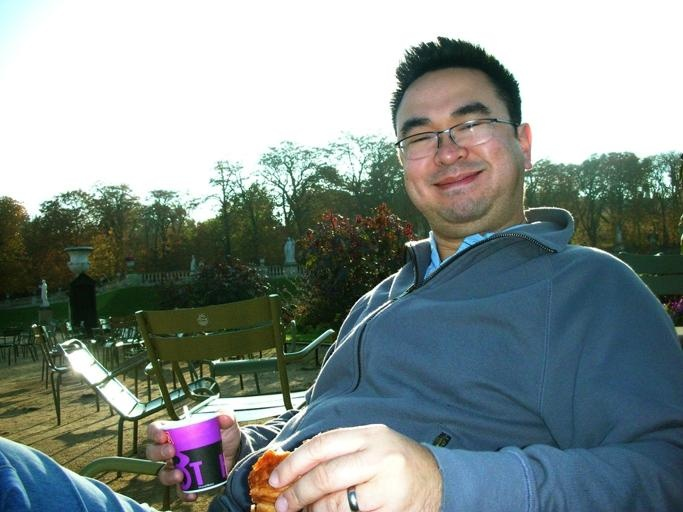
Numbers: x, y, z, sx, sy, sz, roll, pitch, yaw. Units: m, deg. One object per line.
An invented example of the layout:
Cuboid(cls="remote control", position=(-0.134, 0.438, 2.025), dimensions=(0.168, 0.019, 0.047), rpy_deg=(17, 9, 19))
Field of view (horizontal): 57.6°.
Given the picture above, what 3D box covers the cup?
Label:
Cuboid(cls="cup", position=(-0.509, 0.732, 2.393), dimensions=(0.245, 0.291, 0.262), rpy_deg=(-13, -11, -3))
